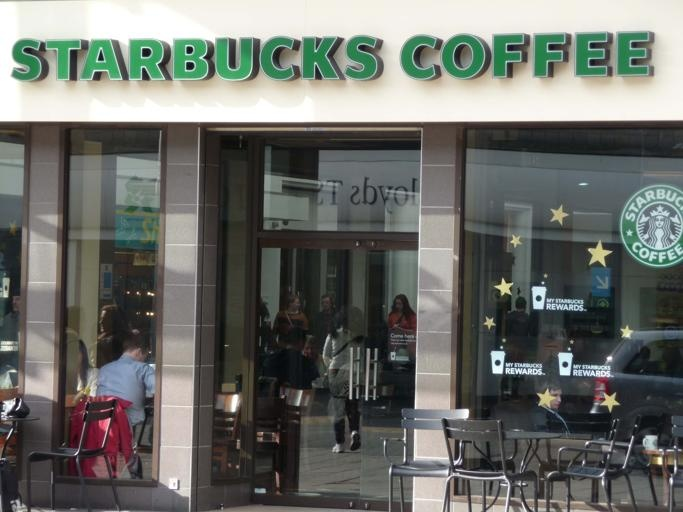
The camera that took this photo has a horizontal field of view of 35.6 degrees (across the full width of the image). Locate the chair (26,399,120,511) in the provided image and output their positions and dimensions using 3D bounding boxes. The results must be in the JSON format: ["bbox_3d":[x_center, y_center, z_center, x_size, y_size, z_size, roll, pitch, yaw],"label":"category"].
[{"bbox_3d":[-2.726,2.030,10.755,0.999,1.147,0.731,0,-7,2],"label":"chair"}]

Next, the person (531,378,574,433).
[{"bbox_3d":[2.161,1.540,10.854,0.407,0.757,0.597,-2,1,3],"label":"person"}]

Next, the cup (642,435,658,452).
[{"bbox_3d":[3.054,1.860,10.557,0.169,0.158,0.108,0,-4,-6],"label":"cup"}]

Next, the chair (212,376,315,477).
[{"bbox_3d":[-0.863,1.964,11.927,1.088,1.512,0.915,1,-8,-1],"label":"chair"}]

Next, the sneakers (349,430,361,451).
[{"bbox_3d":[0.148,1.974,11.354,0.100,0.207,0.142,0,6,7],"label":"sneakers"}]
